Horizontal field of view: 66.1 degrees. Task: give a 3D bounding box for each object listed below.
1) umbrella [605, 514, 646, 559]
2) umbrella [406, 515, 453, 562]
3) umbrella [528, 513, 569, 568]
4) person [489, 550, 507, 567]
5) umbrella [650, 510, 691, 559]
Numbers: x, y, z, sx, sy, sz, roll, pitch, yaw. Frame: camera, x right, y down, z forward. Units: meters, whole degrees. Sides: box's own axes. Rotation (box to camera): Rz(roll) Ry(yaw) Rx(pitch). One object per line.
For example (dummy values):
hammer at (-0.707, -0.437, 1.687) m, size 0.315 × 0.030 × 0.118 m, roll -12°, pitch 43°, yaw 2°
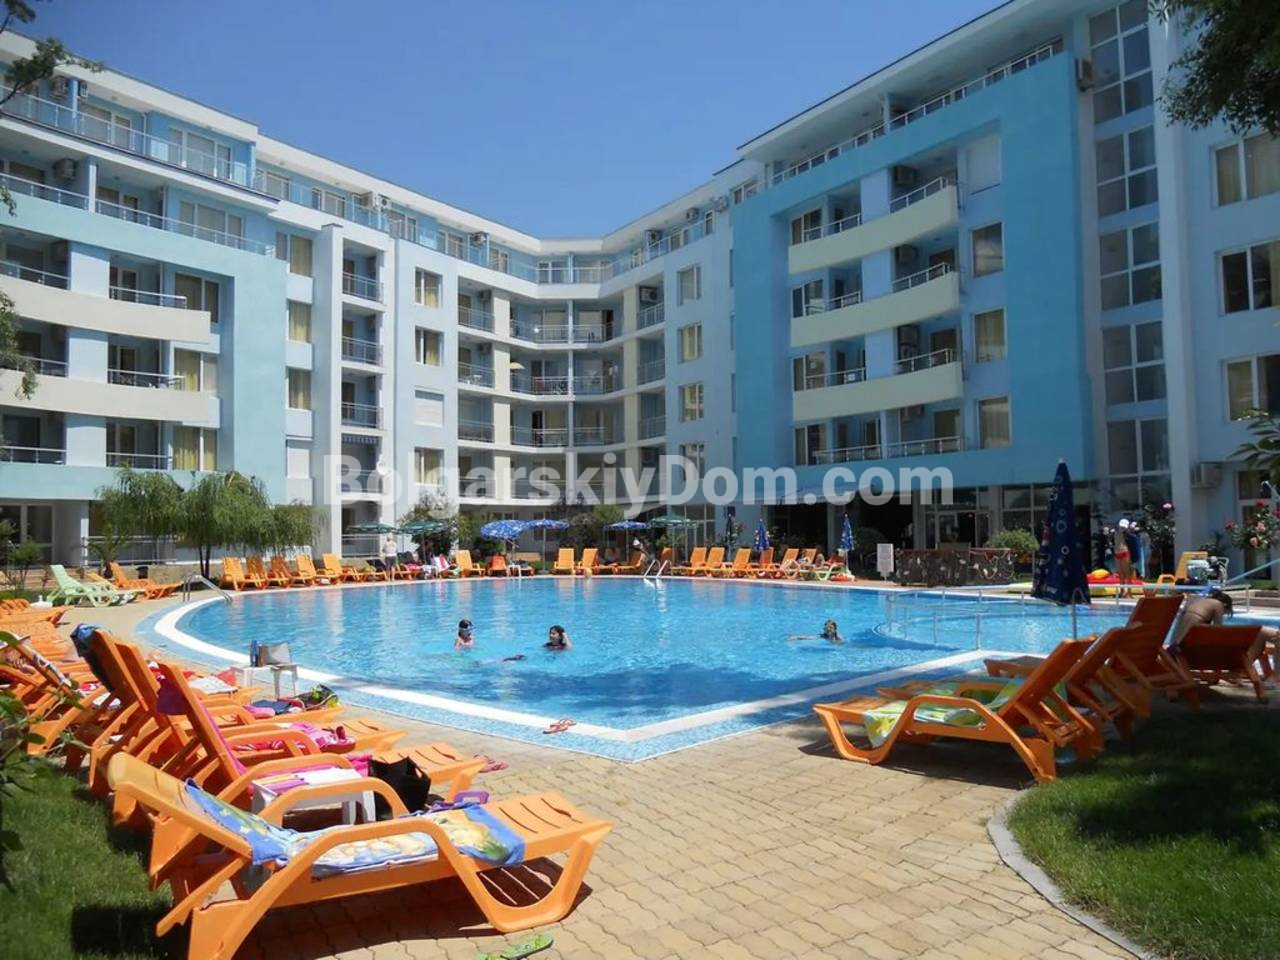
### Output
umbrella at (-0.706, 2.607, 44.904) m, size 1.856 × 1.973 × 1.862 m, roll 1°, pitch -1°, yaw 12°
umbrella at (-8.717, 2.307, 39.699) m, size 1.843 × 1.832 × 1.820 m, roll 1°, pitch -2°, yaw 11°
umbrella at (-4.498, 2.757, 45.632) m, size 2.288 × 2.427 × 2.330 m, roll 2°, pitch 2°, yaw 44°
person at (-5.616, 3.096, 37.958) m, size 0.532 × 0.738 × 0.624 m, roll 1°, pitch -9°, yaw -5°
umbrella at (1.427, 2.178, 42.306) m, size 1.593 × 1.693 × 1.601 m, roll 2°, pitch 6°, yaw 23°
